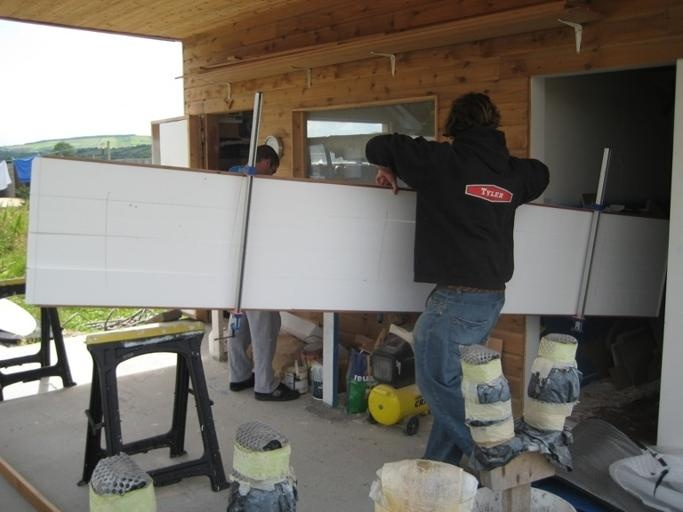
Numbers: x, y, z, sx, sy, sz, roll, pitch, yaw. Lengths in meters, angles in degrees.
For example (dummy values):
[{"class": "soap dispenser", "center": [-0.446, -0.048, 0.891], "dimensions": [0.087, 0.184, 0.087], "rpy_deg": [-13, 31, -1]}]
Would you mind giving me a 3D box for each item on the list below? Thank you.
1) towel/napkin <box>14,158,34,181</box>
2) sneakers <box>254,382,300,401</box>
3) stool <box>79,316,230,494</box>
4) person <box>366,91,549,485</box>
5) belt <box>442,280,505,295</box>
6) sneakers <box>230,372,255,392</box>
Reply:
[{"class": "towel/napkin", "center": [-12.716, -3.432, 21.443], "dimensions": [0.565, 1.013, 3.582], "rpy_deg": [-7, 11, -30]}, {"class": "sneakers", "center": [-0.640, 1.308, 5.296], "dimensions": [0.407, 0.166, 0.167], "rpy_deg": [-4, 10, -18]}, {"class": "stool", "center": [-1.455, 1.187, 4.216], "dimensions": [0.968, 1.144, 0.791], "rpy_deg": [-5, 23, -28]}, {"class": "person", "center": [0.712, 0.139, 3.499], "dimensions": [0.788, 2.321, 0.788], "rpy_deg": [6, 12, 38]}, {"class": "belt", "center": [0.805, 0.197, 3.273], "dimensions": [0.404, 0.088, 0.143], "rpy_deg": [-1, 9, -1]}, {"class": "sneakers", "center": [-1.016, 1.322, 5.593], "dimensions": [0.118, 0.135, 0.349], "rpy_deg": [10, 15, 43]}]
